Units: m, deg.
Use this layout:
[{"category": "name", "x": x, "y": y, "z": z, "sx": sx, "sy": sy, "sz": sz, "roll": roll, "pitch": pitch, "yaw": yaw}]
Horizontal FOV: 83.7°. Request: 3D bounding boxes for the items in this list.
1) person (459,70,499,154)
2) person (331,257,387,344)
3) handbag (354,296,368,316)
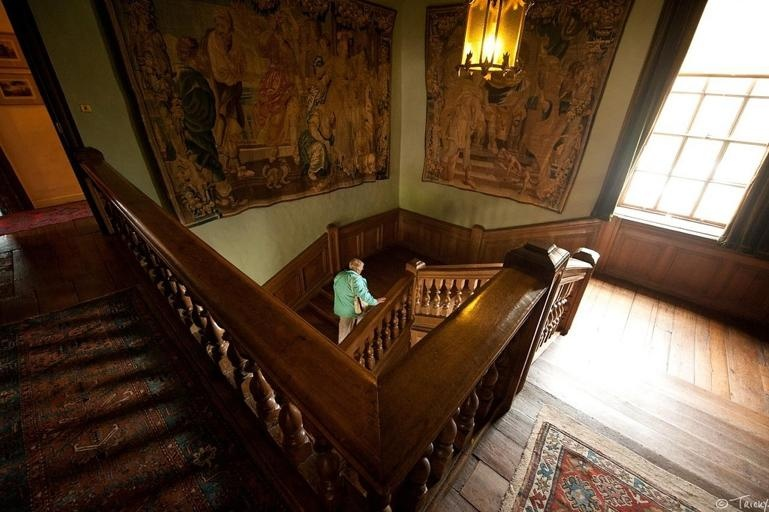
[{"category": "person", "x": 1.480, "y": -2.310, "z": 6.902, "sx": 0.755, "sy": 1.205, "sz": 0.203, "roll": 15, "pitch": 26, "yaw": 29}, {"category": "person", "x": -0.391, "y": 0.697, "z": 5.866, "sx": 0.707, "sy": 1.362, "sz": 0.511, "roll": 18, "pitch": 25, "yaw": 29}, {"category": "handbag", "x": -0.321, "y": 0.643, "z": 5.625, "sx": 0.078, "sy": 0.210, "sz": 0.149, "roll": 26, "pitch": 60, "yaw": 25}]
